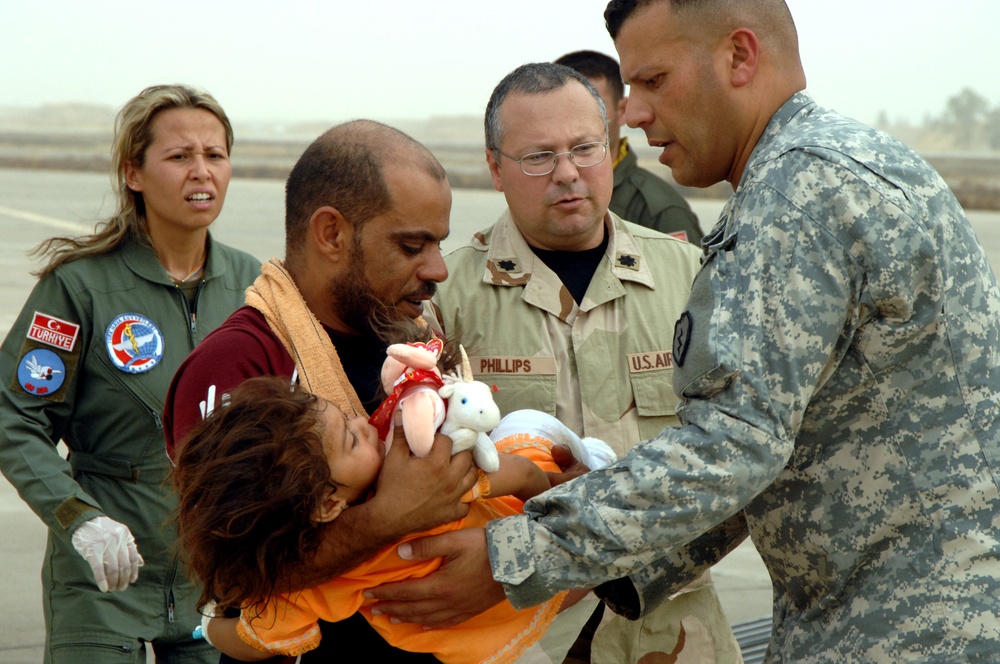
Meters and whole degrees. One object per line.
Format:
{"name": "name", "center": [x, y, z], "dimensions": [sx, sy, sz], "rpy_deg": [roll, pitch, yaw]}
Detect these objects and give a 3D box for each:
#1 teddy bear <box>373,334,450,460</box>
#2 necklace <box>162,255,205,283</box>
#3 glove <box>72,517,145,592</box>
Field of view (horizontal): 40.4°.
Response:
{"name": "teddy bear", "center": [-0.341, 0.190, 4.977], "dimensions": [0.212, 0.420, 0.258], "rpy_deg": [-26, 5, 10]}
{"name": "necklace", "center": [-1.614, -0.313, 6.858], "dimensions": [0.173, 0.072, 0.203], "rpy_deg": [0, 0, -4]}
{"name": "glove", "center": [-1.779, 0.986, 6.134], "dimensions": [0.278, 0.327, 0.117], "rpy_deg": [2, -13, -31]}
